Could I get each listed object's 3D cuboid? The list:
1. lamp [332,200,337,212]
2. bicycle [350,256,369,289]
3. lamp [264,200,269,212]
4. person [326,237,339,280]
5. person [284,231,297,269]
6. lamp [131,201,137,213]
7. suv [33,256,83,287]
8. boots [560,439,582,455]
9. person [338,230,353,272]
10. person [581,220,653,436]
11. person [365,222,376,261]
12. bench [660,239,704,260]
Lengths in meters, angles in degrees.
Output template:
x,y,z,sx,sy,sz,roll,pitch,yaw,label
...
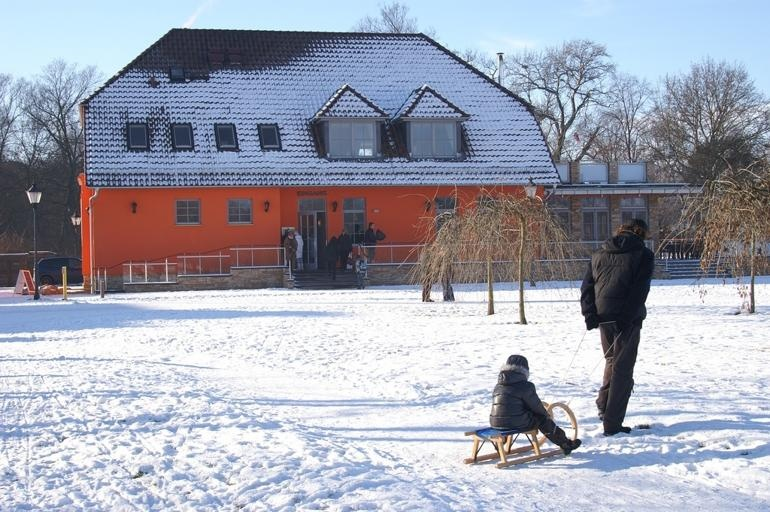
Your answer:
x,y,z,sx,sy,sz,roll,pitch,yaw,label
-2.113,-2.020,45.739,0.333,0.443,0.313,2,10,-1,lamp
-1.004,0.612,43.904,0.579,1.292,1.790,-2,0,-1,bicycle
-4.774,-1.994,44.845,0.228,0.422,0.170,-1,0,-16,lamp
-2.116,0.145,43.792,0.393,1.727,0.589,-2,0,-9,person
-3.769,-0.226,43.896,0.475,1.598,1.205,-2,0,-6,person
-9.906,-1.890,43.829,0.290,0.491,0.194,-2,0,-15,lamp
-14.411,0.680,49.069,1.995,0.971,1.150,-2,1,-15,suv
3.569,3.675,21.504,0.368,0.194,0.231,-29,30,-23,boots
-1.657,-0.200,44.651,0.522,1.564,0.712,-2,0,-3,person
4.590,1.433,22.065,1.354,4.300,0.514,-2,0,12,person
-0.621,-0.563,45.220,0.448,1.587,1.261,-2,0,-1,person
12.350,-0.215,46.981,1.396,0.867,2.757,-2,0,10,bench
